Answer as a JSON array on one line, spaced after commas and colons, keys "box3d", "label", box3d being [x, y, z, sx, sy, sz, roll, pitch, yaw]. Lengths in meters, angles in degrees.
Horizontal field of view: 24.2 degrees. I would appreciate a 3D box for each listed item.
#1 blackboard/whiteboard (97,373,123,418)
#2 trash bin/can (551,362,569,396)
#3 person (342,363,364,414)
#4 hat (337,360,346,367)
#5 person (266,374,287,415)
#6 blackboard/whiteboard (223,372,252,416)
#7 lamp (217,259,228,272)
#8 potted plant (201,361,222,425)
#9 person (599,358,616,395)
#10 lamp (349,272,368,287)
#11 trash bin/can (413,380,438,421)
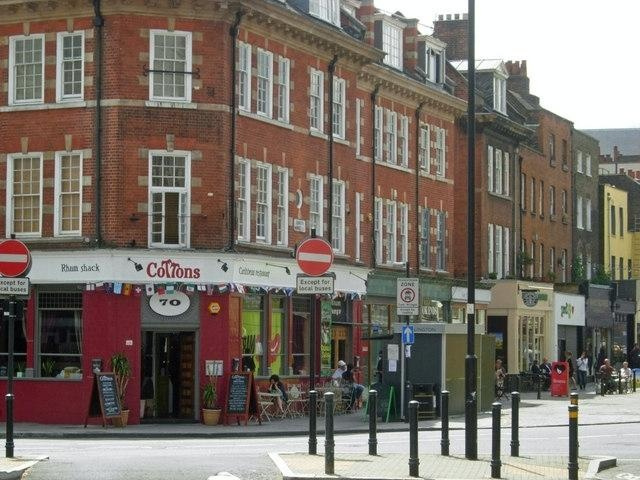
[{"box3d": [-6.540, 4.784, 45.848, 0.484, 1.425, 1.077, -6, -10, 27], "label": "blackboard/whiteboard"}, {"box3d": [10.477, 5.997, 64.430, 0.735, 1.440, 0.682, 1, -3, 25], "label": "trash bin/can"}, {"box3d": [1.263, 5.110, 52.677, 1.106, 1.678, 1.190, -4, -11, 10], "label": "person"}, {"box3d": [0.750, 4.383, 52.485, 0.160, 0.210, 0.223, -9, -39, -49], "label": "hat"}, {"box3d": [-1.413, 5.161, 49.815, 0.593, 1.335, 1.902, -2, -9, 2], "label": "person"}, {"box3d": [-2.606, 4.945, 47.814, 0.765, 1.436, 0.780, 3, 7, 10], "label": "blackboard/whiteboard"}, {"box3d": [-3.158, 0.841, 48.418, 0.398, 0.454, 0.236, -11, 8, 14], "label": "lamp"}, {"box3d": [-3.486, 4.915, 47.909, 0.650, 2.112, 0.496, -1, -8, -5], "label": "potted plant"}, {"box3d": [13.080, 6.274, 67.671, 1.026, 0.855, 2.637, 6, -28, 15], "label": "person"}, {"box3d": [1.441, 1.460, 56.713, 0.628, 0.303, 1.082, 4, -20, 37], "label": "lamp"}, {"box3d": [3.549, 5.316, 48.850, 0.603, 1.132, 1.894, -4, -10, 20], "label": "trash bin/can"}]
